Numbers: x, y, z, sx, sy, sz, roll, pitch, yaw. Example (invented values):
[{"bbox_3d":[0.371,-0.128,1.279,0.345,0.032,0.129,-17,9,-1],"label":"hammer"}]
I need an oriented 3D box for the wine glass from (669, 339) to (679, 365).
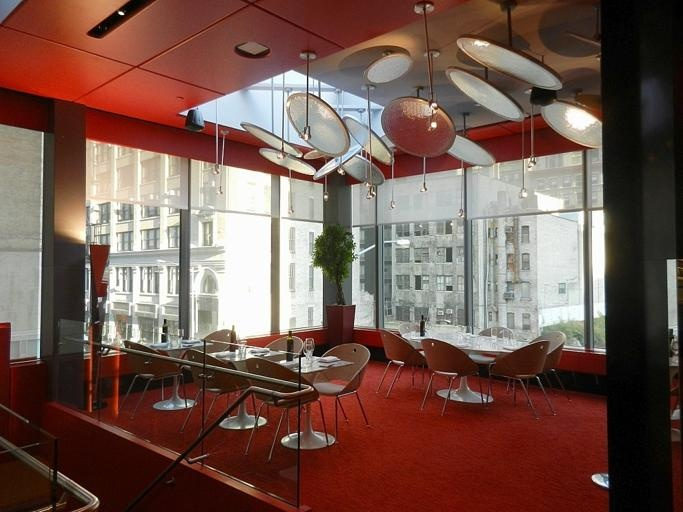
[{"bbox_3d":[2.330,0.664,3.772,0.060,0.191,0.039,5,7,18],"label":"wine glass"}]
